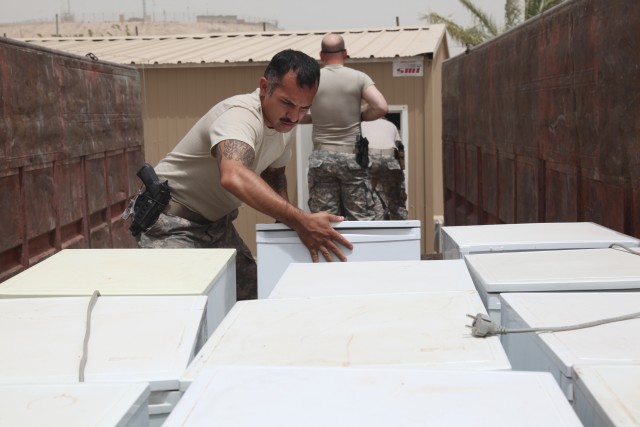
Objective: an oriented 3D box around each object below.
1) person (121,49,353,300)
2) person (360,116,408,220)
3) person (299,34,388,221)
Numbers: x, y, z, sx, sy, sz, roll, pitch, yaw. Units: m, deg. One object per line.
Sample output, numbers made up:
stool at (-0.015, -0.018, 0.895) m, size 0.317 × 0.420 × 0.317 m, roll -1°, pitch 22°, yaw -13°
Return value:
person at (-0.456, -0.154, 3.063) m, size 1.420 × 1.653 × 0.863 m, roll 7°, pitch 10°, yaw 32°
person at (0.732, -0.467, 5.654) m, size 0.428 × 1.350 × 0.374 m, roll 0°, pitch 34°, yaw 15°
person at (0.250, -0.728, 5.159) m, size 0.868 × 2.252 × 0.613 m, roll 4°, pitch 32°, yaw 9°
